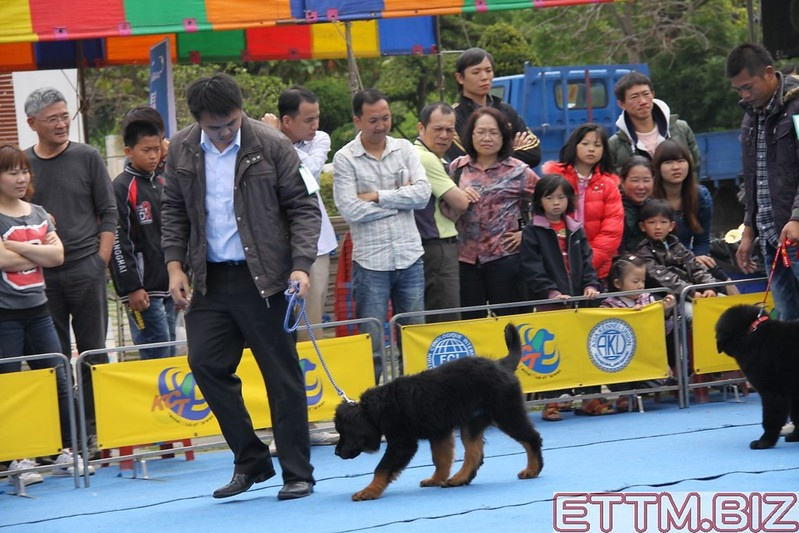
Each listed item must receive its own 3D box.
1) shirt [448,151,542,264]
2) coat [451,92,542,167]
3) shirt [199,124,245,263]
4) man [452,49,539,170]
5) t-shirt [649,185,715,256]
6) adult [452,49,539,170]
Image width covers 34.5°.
[{"bbox_3d":[0.955,-0.557,13.138,1.441,1.027,0.638,5,4,-1],"label":"shirt"},{"bbox_3d":[1.017,-1.441,13.603,0.813,0.480,0.966,-2,5,-5],"label":"coat"},{"bbox_3d":[-1.559,-0.605,11.297,0.357,1.136,0.214,-5,6,17],"label":"shirt"},{"bbox_3d":[1.019,-1.646,13.823,0.910,1.216,0.948,-4,2,38],"label":"man"},{"bbox_3d":[3.043,-0.485,13.871,0.632,0.640,0.255,-8,12,-35],"label":"t-shirt"},{"bbox_3d":[0.909,-1.669,13.818,0.910,1.216,0.948,-4,2,38],"label":"adult"}]
